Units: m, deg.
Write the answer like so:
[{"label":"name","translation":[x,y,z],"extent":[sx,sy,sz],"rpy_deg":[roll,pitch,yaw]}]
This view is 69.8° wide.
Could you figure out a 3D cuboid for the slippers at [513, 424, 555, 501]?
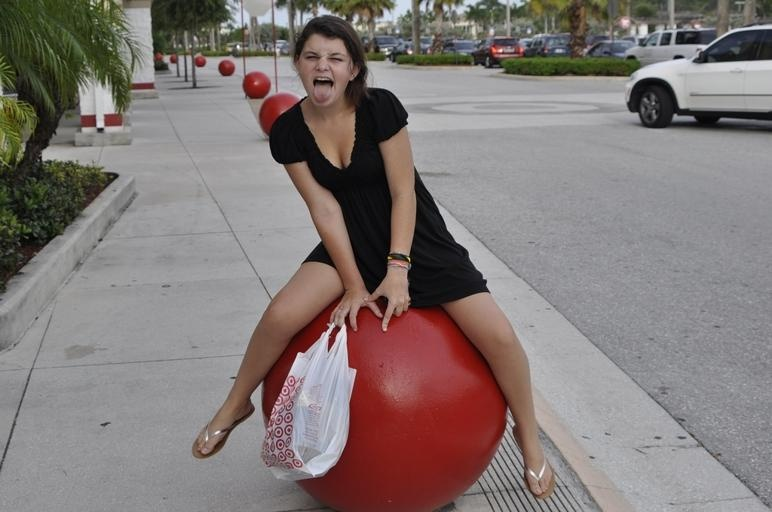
[{"label":"slippers","translation":[0.745,1.023,2.732],"extent":[0.106,0.050,0.370],"rpy_deg":[-31,21,7]}]
